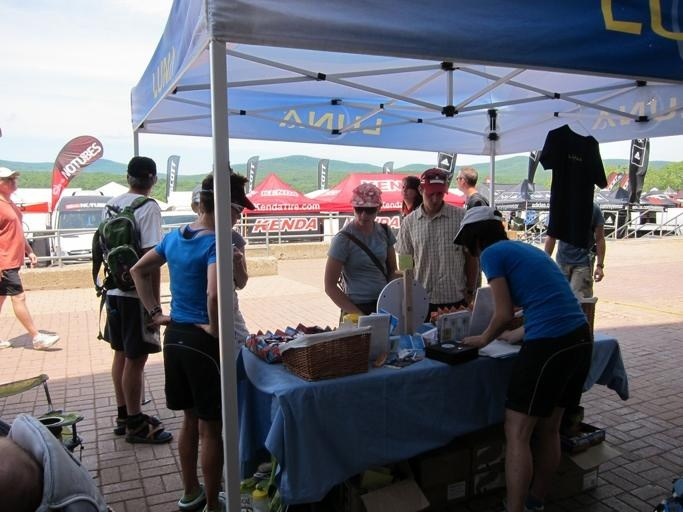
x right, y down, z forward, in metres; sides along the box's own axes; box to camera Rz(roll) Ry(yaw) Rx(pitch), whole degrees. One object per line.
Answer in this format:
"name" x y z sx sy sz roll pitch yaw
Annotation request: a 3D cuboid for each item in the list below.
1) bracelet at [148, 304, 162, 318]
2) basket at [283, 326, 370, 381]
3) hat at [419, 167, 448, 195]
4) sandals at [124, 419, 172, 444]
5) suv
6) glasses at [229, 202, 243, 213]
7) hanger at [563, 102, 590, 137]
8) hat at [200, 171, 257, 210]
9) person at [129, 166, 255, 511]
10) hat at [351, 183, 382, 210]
"bracelet" -1.461 0.441 3.986 0.111 0.072 0.103 -27 4 -37
"basket" -0.079 0.613 3.370 0.465 0.195 0.326 -1 -3 -32
"hat" 0.917 -0.749 5.028 0.215 0.168 0.296 1 5 -2
"sandals" -1.790 1.646 4.823 0.436 0.199 0.197 1 -1 -11
"suv" -10.253 -0.977 20.873 2.437 3.538 6.836 -2 2 -26
"glasses" -0.708 -0.323 3.476 0.065 0.066 0.059 12 -11 -22
"hanger" 3.067 -1.801 6.705 0.219 0.380 0.432 -3 7 -18
"hat" -0.753 -0.444 3.475 0.320 0.258 0.411 -6 8 -39
"person" -1.050 0.692 3.564 0.352 2.482 1.061 -6 8 -38
"hat" 0.214 -0.508 4.346 0.252 0.216 0.224 -1 6 0
